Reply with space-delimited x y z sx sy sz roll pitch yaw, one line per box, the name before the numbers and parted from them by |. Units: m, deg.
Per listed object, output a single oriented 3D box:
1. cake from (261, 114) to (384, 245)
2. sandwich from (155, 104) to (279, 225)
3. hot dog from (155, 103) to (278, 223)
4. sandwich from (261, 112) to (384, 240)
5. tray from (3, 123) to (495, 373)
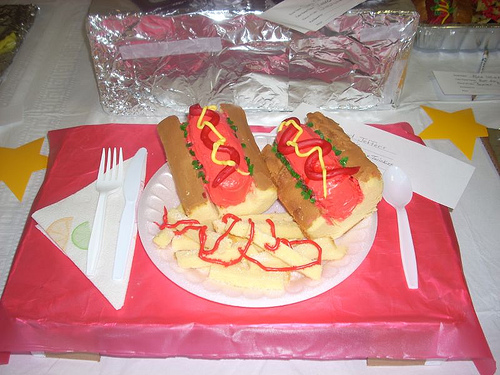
cake | 0.286 -0.050 1.555 0.413 0.207 0.534 -29 63 -3
sandwich | -0.039 -0.116 1.793 0.267 0.553 0.716 25 9 5
hot dog | -0.195 -0.176 1.697 0.445 0.240 0.616 -19 40 -4
sandwich | 0.286 -0.087 1.566 0.412 0.207 0.554 -34 46 5
tray | 0.040 -0.088 1.045 1.334 0.288 1.003 0 56 0
